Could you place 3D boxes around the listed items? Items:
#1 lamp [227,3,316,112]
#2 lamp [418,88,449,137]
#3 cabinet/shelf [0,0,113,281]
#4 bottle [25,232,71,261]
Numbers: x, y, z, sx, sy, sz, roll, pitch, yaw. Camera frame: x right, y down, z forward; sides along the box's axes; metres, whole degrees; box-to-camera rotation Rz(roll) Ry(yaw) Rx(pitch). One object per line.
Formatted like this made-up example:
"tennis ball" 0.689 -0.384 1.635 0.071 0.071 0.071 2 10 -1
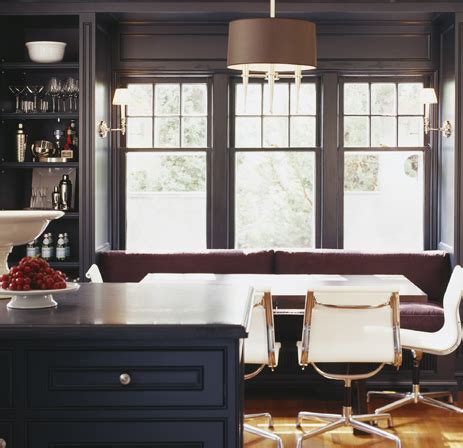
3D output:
"lamp" 0.170 -0.812 3.001 0.379 0.562 0.401 -2 7 -32
"lamp" 1.592 -0.849 4.813 0.237 0.395 0.448 3 6 18
"cabinet/shelf" -1.278 -0.600 4.693 0.815 1.974 0.662 1 6 -2
"bottle" -1.356 0.195 4.685 0.221 0.167 0.232 0 -5 0
